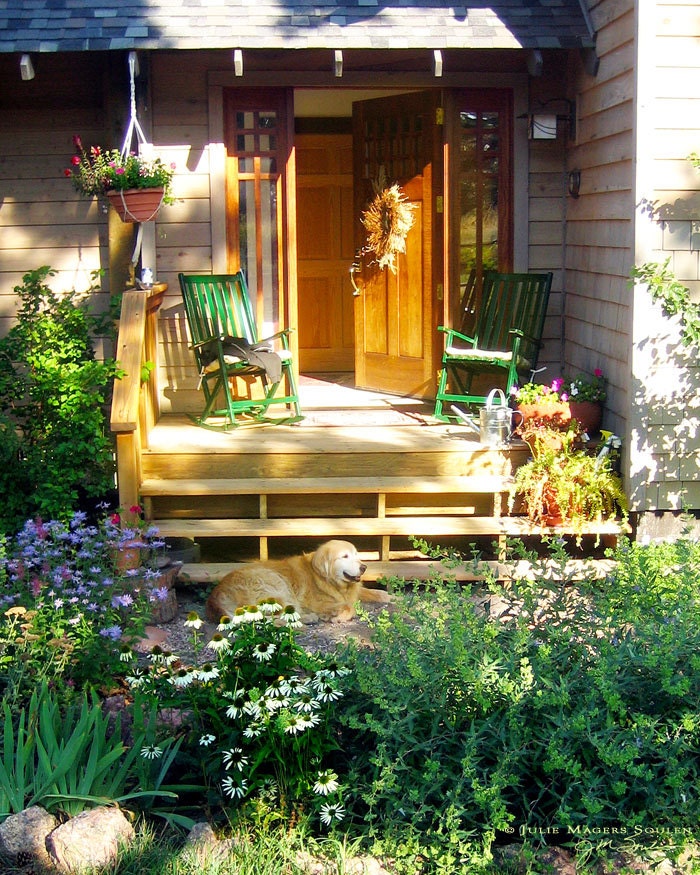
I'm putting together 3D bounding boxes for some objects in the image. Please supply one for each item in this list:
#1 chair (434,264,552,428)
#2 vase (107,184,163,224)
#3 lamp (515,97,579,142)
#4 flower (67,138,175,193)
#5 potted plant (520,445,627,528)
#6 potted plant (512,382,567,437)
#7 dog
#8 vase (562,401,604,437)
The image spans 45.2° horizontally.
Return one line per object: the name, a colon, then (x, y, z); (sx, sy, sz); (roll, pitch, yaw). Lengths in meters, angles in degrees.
chair: (0.997, -0.675, 5.927); (0.795, 1.025, 1.194); (0, 10, 7)
vase: (-1.284, -1.415, 5.094); (0.236, 0.128, 0.230); (3, 14, 23)
lamp: (1.357, -2.232, 5.885); (0.411, 0.304, 0.275); (1, 15, 3)
flower: (-1.456, -1.744, 5.342); (0.503, 0.248, 0.504); (14, 19, 15)
potted plant: (1.203, 0.278, 4.663); (0.499, 0.324, 0.486); (-2, 10, -8)
potted plant: (1.149, -0.164, 5.007); (0.311, 0.292, 0.485); (1, 10, 13)
dog: (-0.238, 0.712, 4.125); (0.692, 0.307, 0.438); (-1, -5, 2)
vase: (1.380, -0.118, 4.997); (0.211, 0.217, 0.204); (2, 7, 13)
